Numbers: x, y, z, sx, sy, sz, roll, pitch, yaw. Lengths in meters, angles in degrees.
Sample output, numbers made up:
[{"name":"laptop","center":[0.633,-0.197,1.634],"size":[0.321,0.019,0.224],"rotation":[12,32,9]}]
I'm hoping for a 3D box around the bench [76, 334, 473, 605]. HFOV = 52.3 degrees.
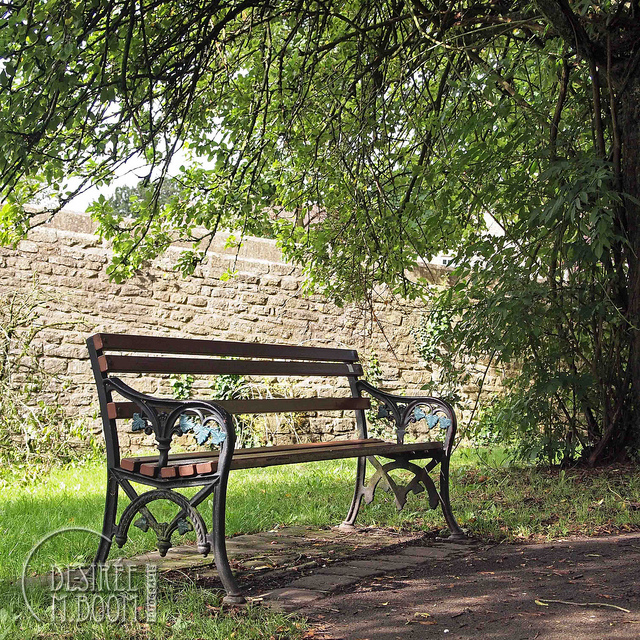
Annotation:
[{"name":"bench","center":[-0.067,0.735,3.764],"size":[0.992,1.106,2.305],"rotation":[-4,-8,33]}]
